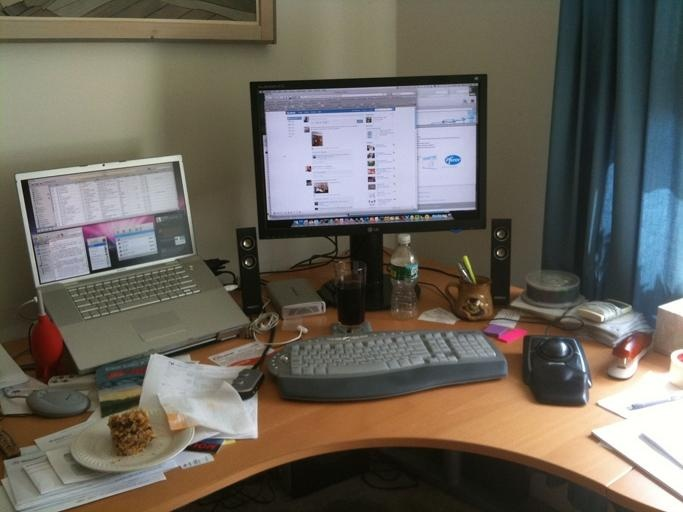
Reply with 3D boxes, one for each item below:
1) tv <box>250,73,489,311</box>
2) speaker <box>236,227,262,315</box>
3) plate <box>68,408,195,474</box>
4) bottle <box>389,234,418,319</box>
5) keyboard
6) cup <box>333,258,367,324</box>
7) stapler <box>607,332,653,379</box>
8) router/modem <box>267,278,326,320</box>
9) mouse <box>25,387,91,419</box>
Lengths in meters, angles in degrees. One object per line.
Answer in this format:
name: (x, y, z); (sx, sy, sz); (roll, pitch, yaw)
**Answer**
tv: (0.072, -0.195, 1.675); (0.696, 0.680, 0.271); (-3, 18, -4)
speaker: (-0.272, 0.042, 1.711); (0.060, 0.263, 0.070); (-9, 17, -22)
plate: (-0.424, 0.378, 1.206); (0.221, 0.023, 0.221); (14, 18, 29)
bottle: (0.173, 0.060, 1.679); (0.091, 0.218, 0.100); (-1, 10, 0)
keyboard: (0.120, 0.251, 1.439); (0.558, 0.047, 0.277); (-4, 15, -12)
cup: (0.019, 0.090, 1.594); (0.077, 0.171, 0.064); (-7, 11, -40)
stapler: (0.703, 0.224, 1.421); (0.191, 0.057, 0.062); (-26, 24, -37)
router/modem: (-0.139, 0.125, 1.754); (0.134, 0.051, 0.222); (-6, 16, -17)
mouse: (-0.635, 0.320, 1.312); (0.093, 0.033, 0.070); (6, 23, -1)
